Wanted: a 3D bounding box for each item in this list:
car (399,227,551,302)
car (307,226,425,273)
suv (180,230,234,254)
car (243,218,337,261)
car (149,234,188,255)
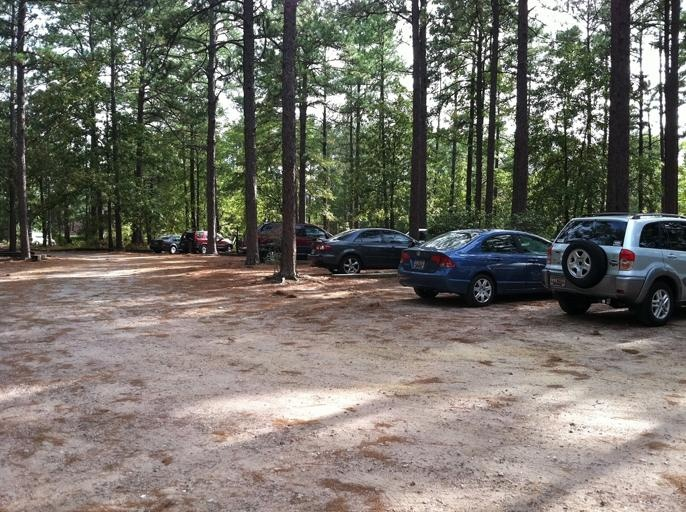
[{"bbox_3d":[3.228,0.171,12.992,3.672,1.139,1.629,-4,4,-28],"label":"car"},{"bbox_3d":[0.757,-0.246,19.255,3.702,1.150,1.510,-3,2,-18],"label":"car"},{"bbox_3d":[-9.956,-0.957,39.690,3.673,1.380,1.752,-3,4,-25],"label":"suv"},{"bbox_3d":[-2.122,-0.685,25.056,3.479,1.214,1.573,-2,1,-13],"label":"car"},{"bbox_3d":[-12.461,-0.848,39.589,1.097,0.775,2.463,0,7,11],"label":"car"}]
